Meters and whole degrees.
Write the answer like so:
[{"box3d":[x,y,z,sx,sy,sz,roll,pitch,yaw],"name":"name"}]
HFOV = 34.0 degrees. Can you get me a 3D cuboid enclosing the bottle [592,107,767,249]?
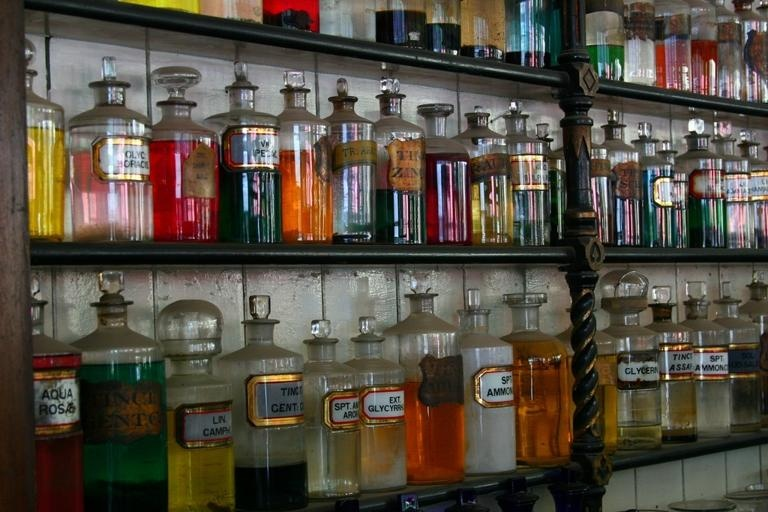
[{"box3d":[0.777,-0.199,3.329,0.456,0.340,0.151,0,0,-32],"name":"bottle"}]
